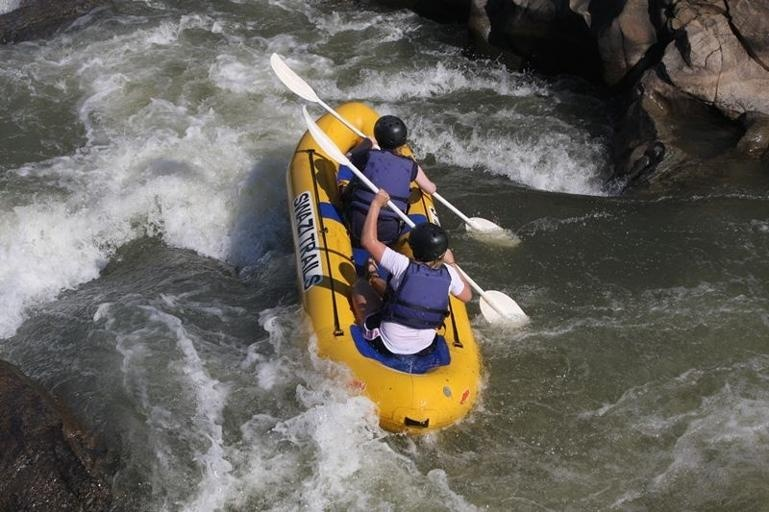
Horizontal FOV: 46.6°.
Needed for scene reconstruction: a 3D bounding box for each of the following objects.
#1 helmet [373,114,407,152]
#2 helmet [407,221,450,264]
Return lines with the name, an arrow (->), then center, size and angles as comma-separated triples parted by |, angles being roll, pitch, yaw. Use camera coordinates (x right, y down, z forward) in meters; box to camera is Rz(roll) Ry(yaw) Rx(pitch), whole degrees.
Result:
helmet -> 0.090, -1.663, 11.772 | 0.356, 0.438, 0.469 | -8, 48, -12
helmet -> 0.521, -0.152, 10.469 | 0.371, 0.380, 0.491 | -6, 28, -2
